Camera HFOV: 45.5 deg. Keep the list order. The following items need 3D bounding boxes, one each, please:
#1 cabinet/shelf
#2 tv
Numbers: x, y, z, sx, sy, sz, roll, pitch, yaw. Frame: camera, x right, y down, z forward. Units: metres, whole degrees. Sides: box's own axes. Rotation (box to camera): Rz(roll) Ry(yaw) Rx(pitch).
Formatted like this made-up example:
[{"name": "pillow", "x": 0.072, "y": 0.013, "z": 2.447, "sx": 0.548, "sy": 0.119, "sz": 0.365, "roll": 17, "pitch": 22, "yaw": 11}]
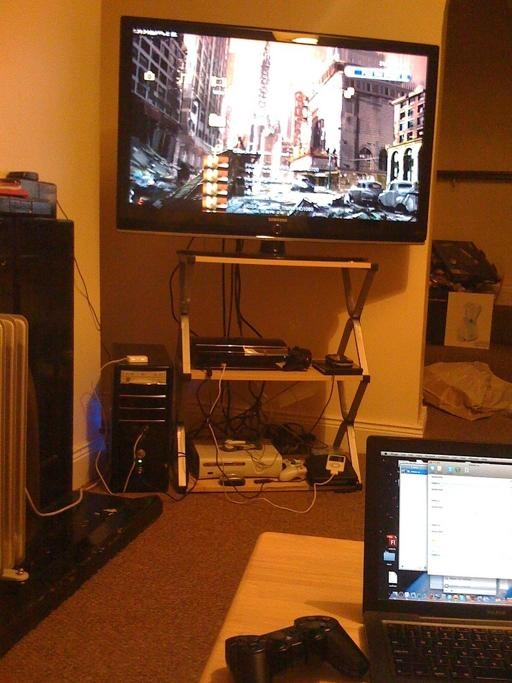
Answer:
[{"name": "cabinet/shelf", "x": 0.097, "y": 0.096, "z": 2.631, "sx": 0.868, "sy": 1.060, "sz": 0.618, "roll": 0, "pitch": 23, "yaw": -6}, {"name": "tv", "x": 0.086, "y": -0.805, "z": 2.348, "sx": 1.115, "sy": 0.671, "sz": 0.046, "roll": 2, "pitch": 6, "yaw": -8}]
